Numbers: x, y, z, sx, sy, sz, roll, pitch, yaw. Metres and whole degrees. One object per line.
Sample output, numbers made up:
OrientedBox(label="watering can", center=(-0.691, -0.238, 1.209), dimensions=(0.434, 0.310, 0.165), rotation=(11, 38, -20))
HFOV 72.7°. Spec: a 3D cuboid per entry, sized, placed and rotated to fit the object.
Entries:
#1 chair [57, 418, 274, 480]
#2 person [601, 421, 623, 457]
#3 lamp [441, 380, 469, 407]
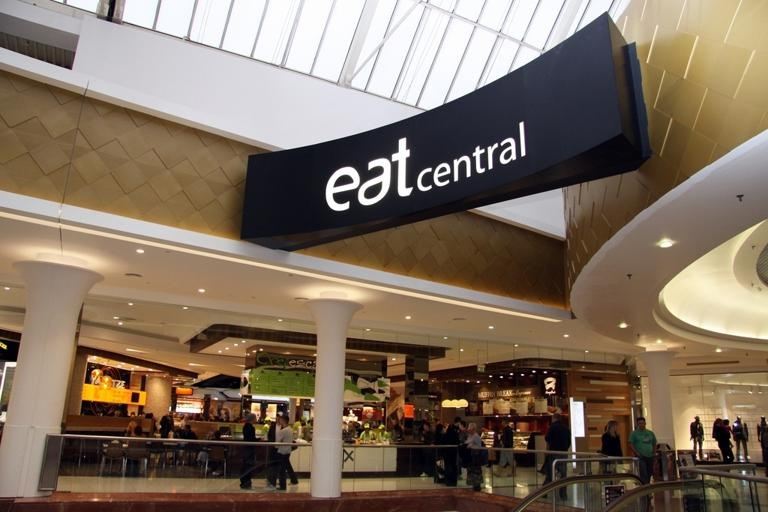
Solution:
OrientedBox(label="chair", center=(-5.109, 4.777, 12.302), dimensions=(4.501, 0.993, 0.561), rotation=(6, -21, -15))
OrientedBox(label="person", center=(6.340, 5.075, 14.623), dimensions=(0.500, 0.959, 2.104), rotation=(-8, -22, 20))
OrientedBox(label="lamp", center=(2.669, 5.081, 19.456), dimensions=(1.032, 1.255, 1.031), rotation=(15, -24, -39))
